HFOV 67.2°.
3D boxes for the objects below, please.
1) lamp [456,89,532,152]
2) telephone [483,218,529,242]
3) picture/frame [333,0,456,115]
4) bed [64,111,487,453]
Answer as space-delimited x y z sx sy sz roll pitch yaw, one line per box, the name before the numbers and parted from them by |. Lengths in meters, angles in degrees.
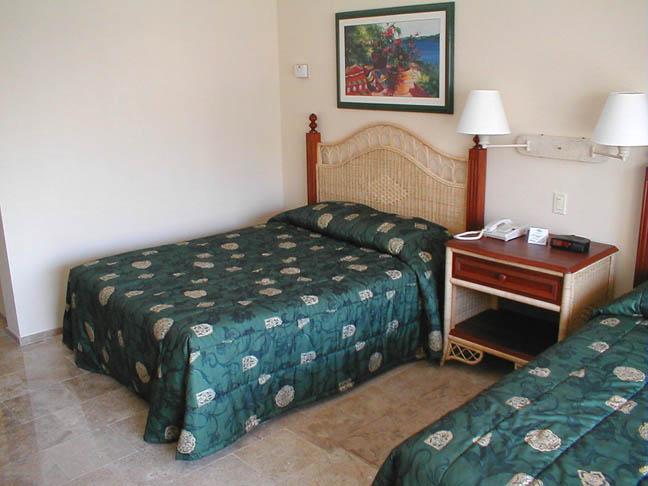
lamp | 0.997 -0.744 2.980 0.416 0.373 0.290 -12 22 -24
telephone | 1.127 -0.089 2.976 0.191 0.066 0.170 -17 24 -33
picture/frame | 0.539 -1.364 3.523 1.069 0.668 0.027 11 21 37
bed | -0.341 0.142 3.247 2.359 1.194 1.770 -17 27 -29
